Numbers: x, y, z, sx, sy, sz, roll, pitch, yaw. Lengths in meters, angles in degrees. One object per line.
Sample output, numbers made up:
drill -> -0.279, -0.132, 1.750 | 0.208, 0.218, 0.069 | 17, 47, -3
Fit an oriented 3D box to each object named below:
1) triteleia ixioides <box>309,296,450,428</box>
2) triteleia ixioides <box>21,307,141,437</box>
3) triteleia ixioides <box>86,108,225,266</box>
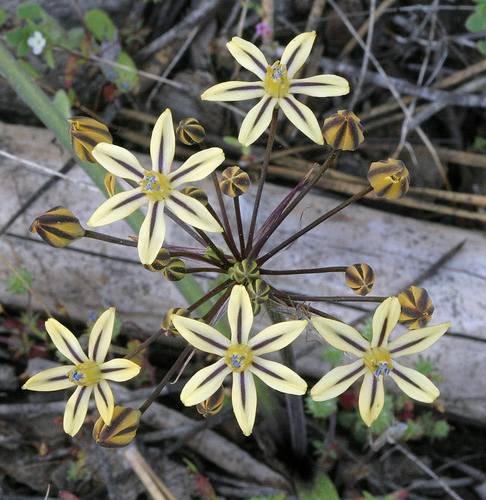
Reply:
triteleia ixioides -> 0.754, 0.612, 3.960 | 0.959, 0.340, 0.733 | -22, 89, 2
triteleia ixioides -> -0.845, 0.704, 4.050 | 0.958, 0.341, 0.706 | -11, 86, 14
triteleia ixioides -> -0.475, -0.340, 3.874 | 1.059, 0.258, 0.805 | 15, 88, 4
